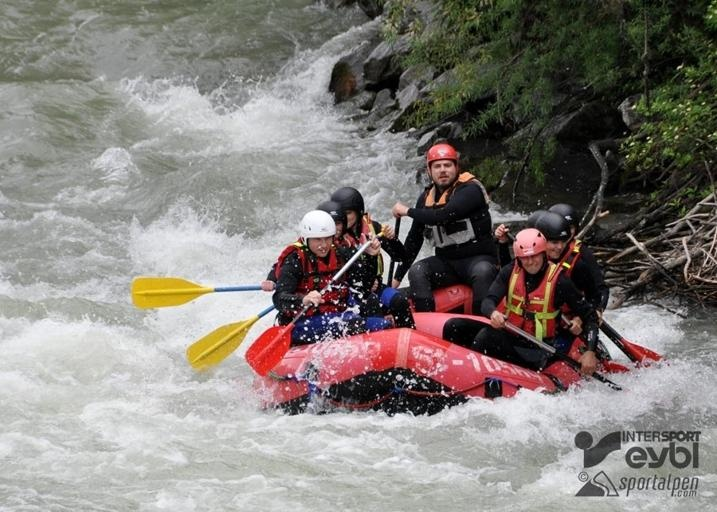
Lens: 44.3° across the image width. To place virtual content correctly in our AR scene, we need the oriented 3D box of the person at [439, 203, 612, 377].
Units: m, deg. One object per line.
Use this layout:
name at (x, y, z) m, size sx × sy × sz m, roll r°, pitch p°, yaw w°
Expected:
person at (1.910, 0.467, 10.355) m, size 1.471 × 1.434 × 0.923 m, roll 29°, pitch 27°, yaw 27°

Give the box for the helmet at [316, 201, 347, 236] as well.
helmet at (-0.278, -0.451, 10.759) m, size 0.331 × 0.431 × 0.429 m, roll -7°, pitch 19°, yaw -8°

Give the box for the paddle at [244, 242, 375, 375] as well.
paddle at (-0.524, 0.661, 10.462) m, size 2.088 × 0.105 × 0.431 m, roll -42°, pitch 69°, yaw -11°

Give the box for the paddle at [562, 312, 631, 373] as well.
paddle at (2.744, 1.132, 10.152) m, size 0.335 × 1.136 × 0.389 m, roll -37°, pitch 28°, yaw 27°

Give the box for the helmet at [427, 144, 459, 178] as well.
helmet at (1.065, -1.272, 11.209) m, size 0.294 × 0.288 × 0.369 m, roll -2°, pitch 17°, yaw 6°

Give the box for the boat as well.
boat at (0.450, 1.321, 9.961) m, size 2.392 × 0.734 × 1.465 m, roll 4°, pitch 3°, yaw 26°

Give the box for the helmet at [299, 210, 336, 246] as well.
helmet at (-0.467, -0.338, 10.319) m, size 0.298 × 0.294 × 0.390 m, roll -2°, pitch 19°, yaw -21°
